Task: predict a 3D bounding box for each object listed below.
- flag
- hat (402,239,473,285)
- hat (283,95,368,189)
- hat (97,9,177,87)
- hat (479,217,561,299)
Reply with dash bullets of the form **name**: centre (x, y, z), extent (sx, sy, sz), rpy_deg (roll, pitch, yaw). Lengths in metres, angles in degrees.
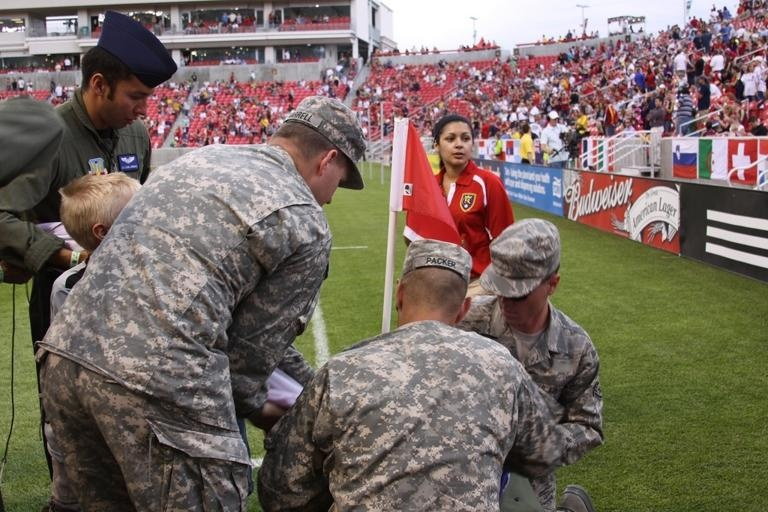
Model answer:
- **flag**: centre (0.337, -0.557, 6.552), extent (0.530, 1.345, 0.133), rpy_deg (2, -28, 3)
- **hat**: centre (0.288, 0.055, 4.464), extent (0.393, 0.211, 0.322), rpy_deg (17, 23, 37)
- **hat**: centre (-0.299, -0.771, 4.791), extent (0.609, 0.326, 0.450), rpy_deg (27, -3, -44)
- **hat**: centre (-1.682, -1.409, 5.198), extent (0.621, 0.310, 0.501), rpy_deg (26, 7, -35)
- **hat**: centre (0.909, -0.030, 5.095), extent (0.469, 0.335, 0.667), rpy_deg (12, 31, 38)
